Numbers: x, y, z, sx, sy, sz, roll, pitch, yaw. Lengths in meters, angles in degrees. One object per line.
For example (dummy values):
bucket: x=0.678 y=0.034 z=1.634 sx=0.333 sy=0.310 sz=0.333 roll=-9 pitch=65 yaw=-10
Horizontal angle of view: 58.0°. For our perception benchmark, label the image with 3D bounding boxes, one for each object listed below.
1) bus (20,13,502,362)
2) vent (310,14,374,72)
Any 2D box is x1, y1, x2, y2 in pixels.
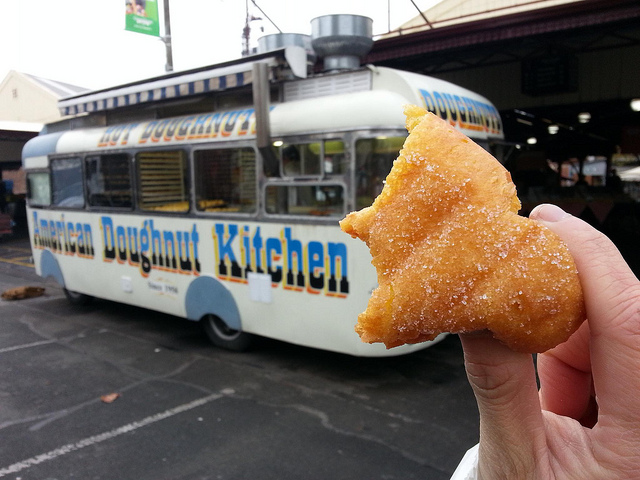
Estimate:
bus: x=-1.077 y=-0.988 z=8.994 sx=7.470 sy=4.093 sz=4.087 roll=4 pitch=10 yaw=36
vent: x=0.265 y=-2.319 z=6.805 sx=0.723 sy=0.604 sz=0.425 roll=-2 pitch=9 yaw=-1
